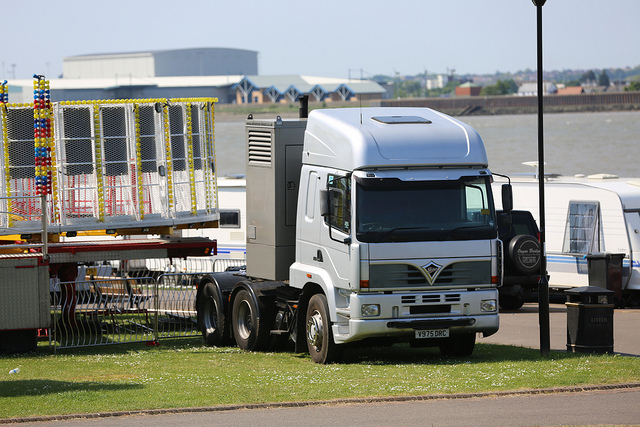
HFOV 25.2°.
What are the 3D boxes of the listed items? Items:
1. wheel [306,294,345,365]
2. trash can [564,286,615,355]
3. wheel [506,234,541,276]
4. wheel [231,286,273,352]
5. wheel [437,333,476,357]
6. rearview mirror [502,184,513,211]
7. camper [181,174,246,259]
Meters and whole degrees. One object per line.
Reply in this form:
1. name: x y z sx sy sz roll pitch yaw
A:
1. wheel: 0.139 2.466 31.729 0.450 1.367 1.174 -7 19 -20
2. trash can: 6.019 2.304 32.228 0.930 1.396 0.920 4 -6 -21
3. wheel: 5.439 1.084 38.652 1.131 1.324 0.431 1 5 -7
4. wheel: -1.580 2.400 33.975 0.565 1.577 1.544 1 -5 -31
5. wheel: 3.036 2.830 32.300 0.811 0.644 0.587 -1 12 4
6. rearview mirror: 4.026 -0.360 31.226 0.203 0.592 0.175 -2 12 -3
7. camper: -3.221 0.259 48.027 1.472 2.769 3.111 -2 12 -3
